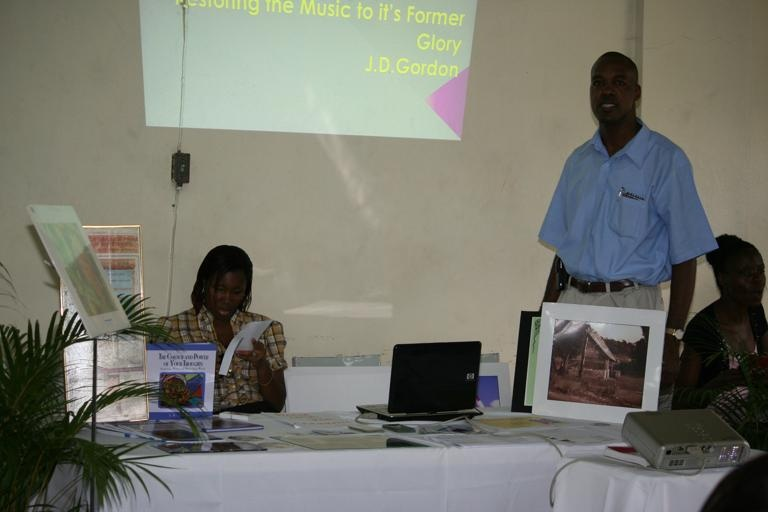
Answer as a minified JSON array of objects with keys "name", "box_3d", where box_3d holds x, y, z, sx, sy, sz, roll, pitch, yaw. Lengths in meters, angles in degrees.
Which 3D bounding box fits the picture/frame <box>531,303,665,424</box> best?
[{"name":"picture/frame","box_3d":[0.821,0.414,2.579,0.404,0.408,0.017,5,-4,11]}]

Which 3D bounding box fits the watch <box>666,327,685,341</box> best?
[{"name":"watch","box_3d":[1.202,0.314,2.799,0.074,0.047,0.069,6,2,-45]}]

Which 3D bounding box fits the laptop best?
[{"name":"laptop","box_3d":[0.196,0.481,2.629,0.362,0.289,0.314,1,-3,-21]}]

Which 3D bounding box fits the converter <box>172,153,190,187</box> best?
[{"name":"converter","box_3d":[-1.254,-0.527,4.196,0.110,0.203,0.075,4,-2,-18]}]

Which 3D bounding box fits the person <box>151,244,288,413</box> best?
[{"name":"person","box_3d":[-0.841,0.357,3.376,0.659,1.021,0.590,6,-25,-28]}]

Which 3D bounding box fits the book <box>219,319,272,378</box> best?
[{"name":"book","box_3d":[-0.548,0.341,2.705,0.194,0.254,0.093,-6,49,-31]}]
